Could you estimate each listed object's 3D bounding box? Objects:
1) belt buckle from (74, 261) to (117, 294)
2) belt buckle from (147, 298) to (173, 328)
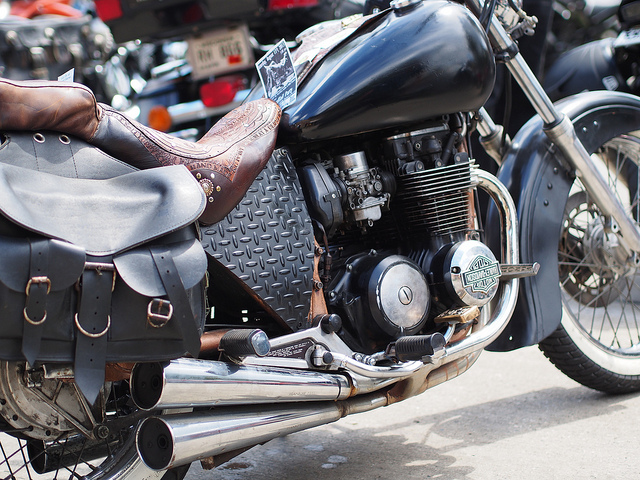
[{"bbox_3d":[-0.601,0.106,1.936,0.105,0.091,0.030,5,-12,15],"label":"belt buckle"},{"bbox_3d":[-0.446,0.192,2.021,0.074,0.104,0.066,8,15,-16],"label":"belt buckle"}]
